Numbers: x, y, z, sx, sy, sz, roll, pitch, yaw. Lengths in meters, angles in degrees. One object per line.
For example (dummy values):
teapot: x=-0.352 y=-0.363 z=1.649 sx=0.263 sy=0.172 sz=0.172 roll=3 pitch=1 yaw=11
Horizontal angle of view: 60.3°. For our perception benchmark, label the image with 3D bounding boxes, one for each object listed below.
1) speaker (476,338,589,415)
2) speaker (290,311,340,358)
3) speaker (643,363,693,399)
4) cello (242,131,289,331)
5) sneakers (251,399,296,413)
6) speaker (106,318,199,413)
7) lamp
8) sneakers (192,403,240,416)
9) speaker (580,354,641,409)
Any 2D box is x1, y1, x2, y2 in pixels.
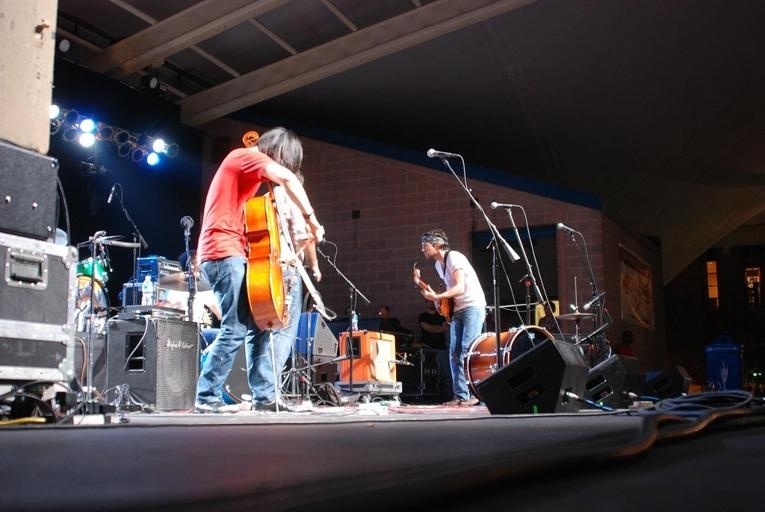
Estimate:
speaker: x=0.850 y=0.702 z=3.726 sx=0.423 sy=0.389 sz=0.542 roll=1 pitch=-9 yaw=31
speaker: x=-0.710 y=0.830 z=6.747 sx=0.413 sy=0.522 sz=0.740 roll=-1 pitch=-8 yaw=4
speaker: x=2.809 y=1.258 z=6.569 sx=0.417 sy=0.219 sz=0.572 roll=1 pitch=-1 yaw=24
cello: x=-0.714 y=-0.119 z=4.105 sx=0.281 sy=1.133 sz=0.471 roll=2 pitch=-1 yaw=-8
sneakers: x=-0.673 y=0.945 z=4.174 sx=0.309 sy=0.129 sz=0.109 roll=1 pitch=-7 yaw=-4
speaker: x=-1.781 y=0.929 z=5.355 sx=0.687 sy=0.992 sz=0.695 roll=-5 pitch=-12 yaw=21
lamp: x=-4.012 y=-1.774 z=9.825 sx=0.562 sy=0.897 sz=2.123 roll=1 pitch=-1 yaw=24
sneakers: x=-1.002 y=0.916 z=3.931 sx=0.303 sy=0.096 sz=0.115 roll=2 pitch=-18 yaw=-7
speaker: x=1.956 y=1.035 z=5.532 sx=0.616 sy=0.302 sz=0.297 roll=2 pitch=-1 yaw=-43
